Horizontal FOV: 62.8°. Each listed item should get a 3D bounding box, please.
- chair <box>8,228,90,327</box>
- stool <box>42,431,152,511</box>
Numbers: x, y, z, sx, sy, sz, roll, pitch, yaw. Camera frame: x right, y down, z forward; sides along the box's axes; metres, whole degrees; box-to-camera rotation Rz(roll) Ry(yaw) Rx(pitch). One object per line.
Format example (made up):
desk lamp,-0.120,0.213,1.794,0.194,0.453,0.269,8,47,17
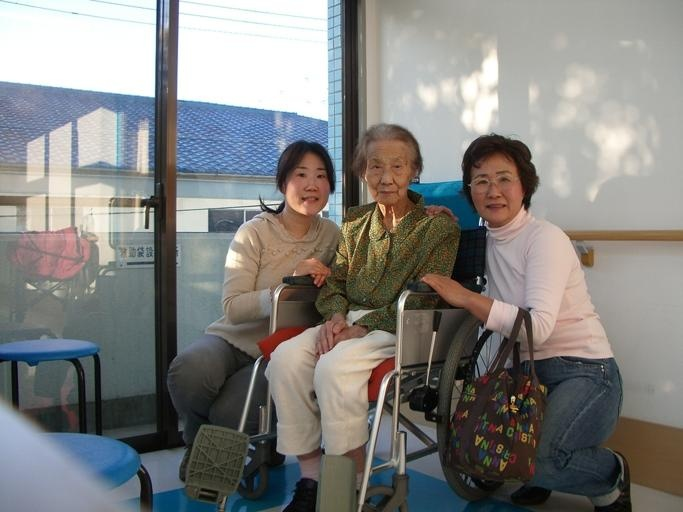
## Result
chair,-1.426,0.061,2.739,0.343,0.586,0.430,2,4,-27
stool,-0.691,0.591,1.604,0.267,0.223,0.258,7,7,-10
